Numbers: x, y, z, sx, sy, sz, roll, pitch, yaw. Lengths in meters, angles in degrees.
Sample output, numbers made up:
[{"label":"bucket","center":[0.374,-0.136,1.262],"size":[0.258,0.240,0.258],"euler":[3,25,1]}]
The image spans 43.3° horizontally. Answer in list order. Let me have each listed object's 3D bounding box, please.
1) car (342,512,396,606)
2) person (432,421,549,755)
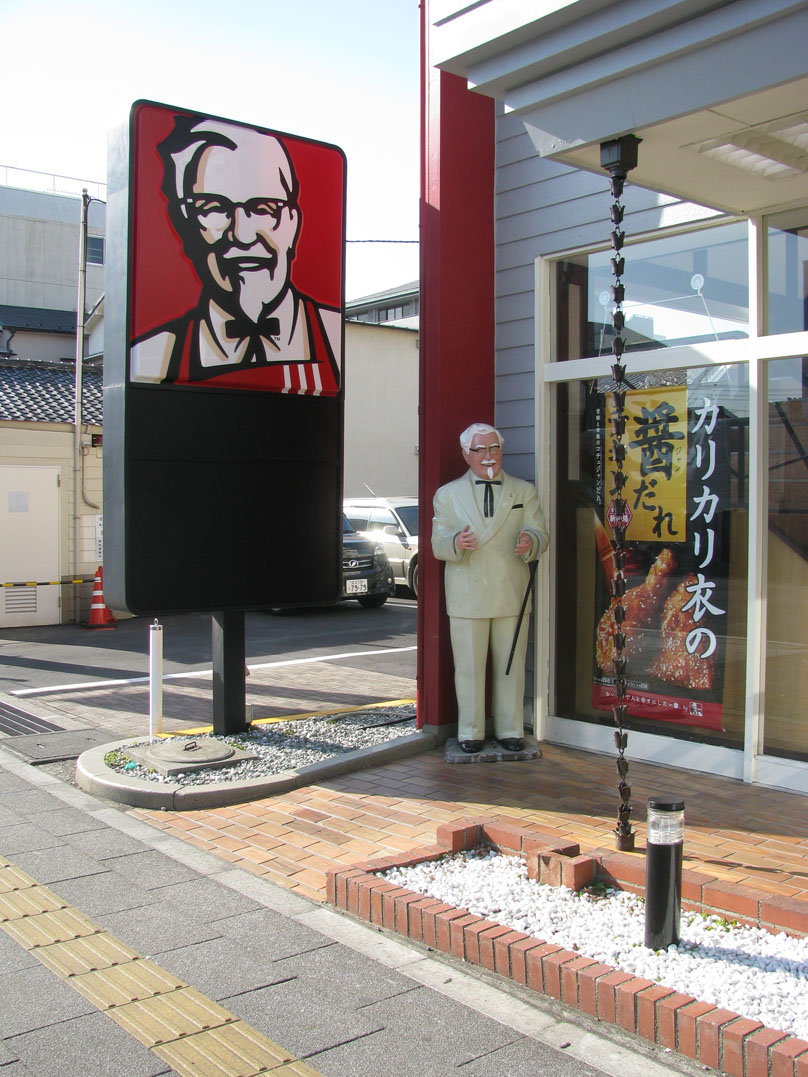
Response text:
[{"label":"car","center":[-0.567,0.389,14.946],"size":[0.709,1.415,1.704],"euler":[-2,4,-3]},{"label":"person","center":[0.513,0.291,6.144],"size":[0.697,1.970,0.391],"euler":[-1,3,1]}]
